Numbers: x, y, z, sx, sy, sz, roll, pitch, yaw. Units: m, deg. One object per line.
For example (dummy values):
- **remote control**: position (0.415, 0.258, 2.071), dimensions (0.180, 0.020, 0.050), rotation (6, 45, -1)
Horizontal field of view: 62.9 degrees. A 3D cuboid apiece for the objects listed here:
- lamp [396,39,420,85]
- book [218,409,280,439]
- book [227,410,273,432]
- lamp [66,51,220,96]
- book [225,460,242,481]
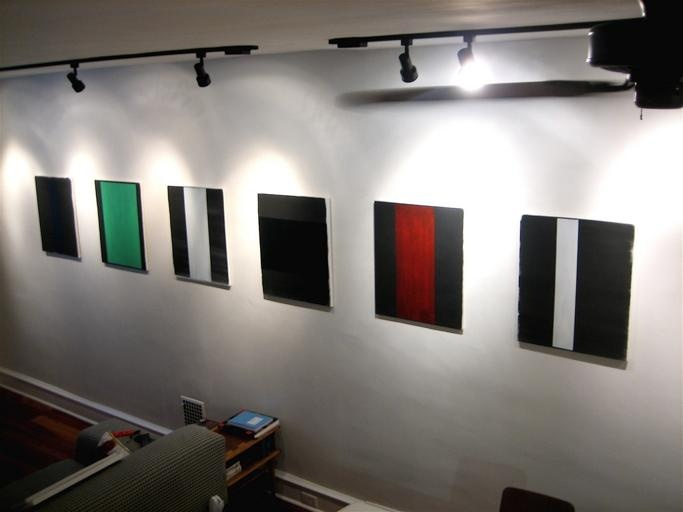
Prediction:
- **lamp**: position (0.436, -1.264, 3.567), dimensions (0.126, 0.252, 0.456), rotation (1, 4, 7)
- **book**: position (-0.759, 1.384, 4.630), dimensions (0.400, 0.123, 0.316), rotation (3, 4, 30)
- **book**: position (-0.748, 1.353, 4.596), dimensions (0.167, 0.039, 0.174), rotation (9, 16, 29)
- **lamp**: position (-1.601, -1.465, 4.436), dimensions (1.050, 0.288, 0.181), rotation (-12, 8, -21)
- **book**: position (-0.836, 1.664, 4.332), dimensions (0.110, 0.038, 0.113), rotation (15, 28, 41)
